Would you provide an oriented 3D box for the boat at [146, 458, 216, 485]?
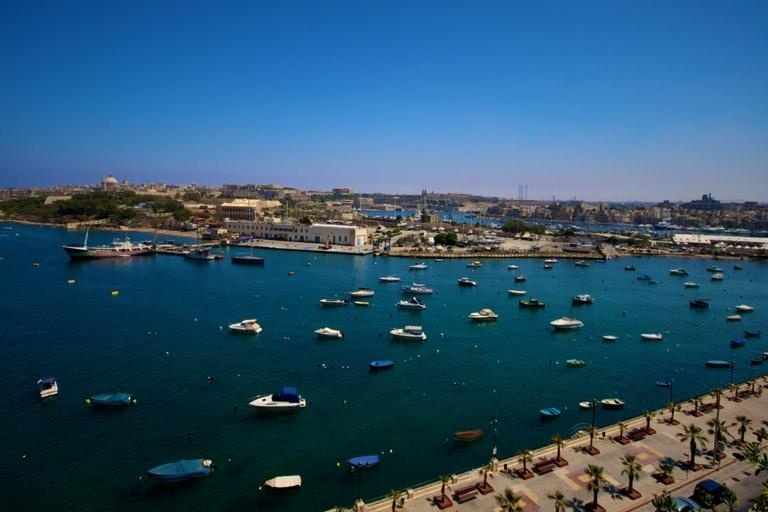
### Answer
[{"bbox_3d":[-12.401,12.962,37.078,3.402,0.992,1.420,-7,32,-16],"label":"boat"}]

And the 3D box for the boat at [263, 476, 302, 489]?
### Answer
[{"bbox_3d":[-6.083,13.568,36.773,1.899,0.171,0.696,-1,36,-9],"label":"boat"}]

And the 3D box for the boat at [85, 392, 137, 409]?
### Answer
[{"bbox_3d":[-18.689,9.883,41.834,2.191,0.492,1.375,4,15,-10],"label":"boat"}]

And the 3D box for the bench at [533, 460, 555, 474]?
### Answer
[{"bbox_3d":[9.682,12.757,36.881,1.005,0.544,0.653,-9,24,-10],"label":"bench"}]

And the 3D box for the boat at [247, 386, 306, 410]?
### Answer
[{"bbox_3d":[-7.332,10.025,42.319,3.678,1.132,1.551,-2,18,-4],"label":"boat"}]

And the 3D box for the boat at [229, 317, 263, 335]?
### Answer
[{"bbox_3d":[-12.075,6.068,52.503,2.362,0.746,1.320,0,17,1],"label":"boat"}]

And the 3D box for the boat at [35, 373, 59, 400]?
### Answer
[{"bbox_3d":[-23.673,9.153,42.762,1.115,0.693,1.862,-11,29,-43],"label":"boat"}]

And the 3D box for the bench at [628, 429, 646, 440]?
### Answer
[{"bbox_3d":[16.277,11.502,39.324,1.446,0.403,0.784,-5,11,-37],"label":"bench"}]
